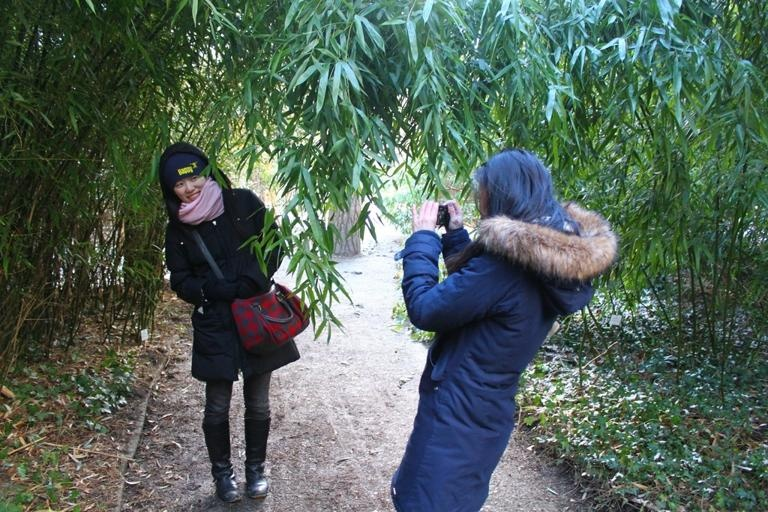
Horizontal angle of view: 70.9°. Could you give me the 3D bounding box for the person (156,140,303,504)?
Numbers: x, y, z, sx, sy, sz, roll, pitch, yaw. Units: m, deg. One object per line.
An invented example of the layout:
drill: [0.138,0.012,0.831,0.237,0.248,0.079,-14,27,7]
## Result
person: [-0.818,0.378,2.802,0.727,1.880,0.352,3,6,-10]

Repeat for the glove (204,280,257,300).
glove: [-0.791,0.172,2.748,0.165,0.072,0.134,-5,-19,-20]

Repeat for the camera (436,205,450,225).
camera: [0.258,-0.178,2.364,0.080,0.081,0.028,1,4,-39]

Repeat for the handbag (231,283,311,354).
handbag: [-0.596,0.339,2.869,0.189,0.303,0.378,-22,5,33]
